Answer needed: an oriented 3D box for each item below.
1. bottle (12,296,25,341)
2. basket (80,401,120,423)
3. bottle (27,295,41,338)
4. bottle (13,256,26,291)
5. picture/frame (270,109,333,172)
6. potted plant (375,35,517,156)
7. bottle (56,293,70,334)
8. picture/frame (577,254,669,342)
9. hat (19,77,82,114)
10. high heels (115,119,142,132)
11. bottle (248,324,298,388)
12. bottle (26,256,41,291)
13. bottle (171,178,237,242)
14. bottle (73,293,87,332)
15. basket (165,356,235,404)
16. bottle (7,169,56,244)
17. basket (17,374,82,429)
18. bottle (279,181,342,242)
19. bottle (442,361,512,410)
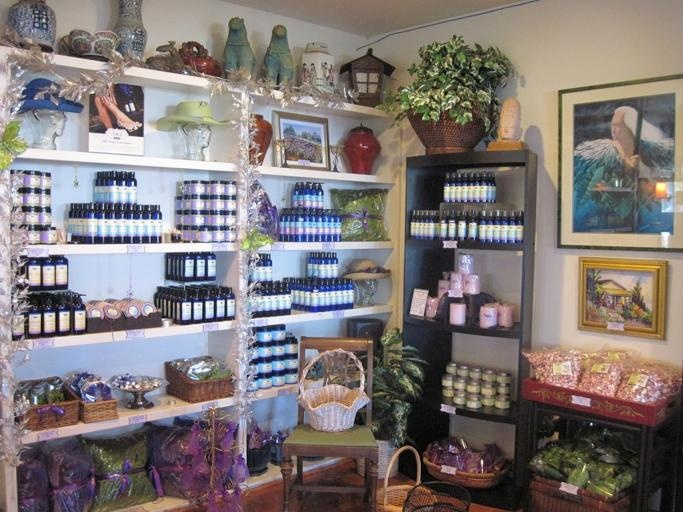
[{"bbox_3d":[-1.847,0.356,3.142,0.077,0.240,0.119,-1,4,-16],"label":"bottle"},{"bbox_3d":[-1.492,0.957,3.373,0.153,0.092,0.151,4,-7,-33],"label":"basket"},{"bbox_3d":[-1.818,0.354,3.239,0.081,0.236,0.118,-2,4,-22],"label":"bottle"},{"bbox_3d":[-1.856,0.096,3.166,0.069,0.192,0.183,-2,4,-29],"label":"bottle"},{"bbox_3d":[-0.339,-0.900,4.309,0.570,0.501,0.042,0,-5,-37],"label":"picture/frame"},{"bbox_3d":[0.741,-1.218,4.147,0.883,0.697,0.881,14,26,19],"label":"potted plant"},{"bbox_3d":[-1.696,0.359,3.313,0.100,0.225,0.074,3,5,44],"label":"bottle"},{"bbox_3d":[1.864,0.269,3.577,0.578,0.577,0.044,3,3,40],"label":"picture/frame"},{"bbox_3d":[-1.724,-0.929,3.230,0.267,0.113,0.221,-7,3,9],"label":"hat"},{"bbox_3d":[-1.351,-0.829,3.503,0.113,0.062,0.047,15,-18,-6],"label":"high heels"},{"bbox_3d":[-0.495,0.736,4.187,0.412,0.407,0.449,0,0,14],"label":"bottle"},{"bbox_3d":[-1.816,0.106,3.229,0.041,0.184,0.072,3,4,37],"label":"bottle"},{"bbox_3d":[-0.916,-0.304,3.814,0.440,0.454,0.403,0,2,-29],"label":"bottle"},{"bbox_3d":[-1.613,0.359,3.370,0.077,0.229,0.103,-2,4,-26],"label":"bottle"},{"bbox_3d":[-0.996,0.853,3.802,0.336,0.172,0.323,1,-2,43],"label":"basket"},{"bbox_3d":[-1.802,-0.289,3.248,0.176,0.430,0.359,0,4,8],"label":"bottle"},{"bbox_3d":[-1.808,0.897,3.371,0.324,0.238,0.390,-2,4,-31],"label":"basket"},{"bbox_3d":[-0.270,-0.339,4.292,0.509,0.446,0.181,1,-3,-39],"label":"bottle"},{"bbox_3d":[1.002,0.955,4.039,0.382,0.135,0.282,3,5,11],"label":"bottle"}]
